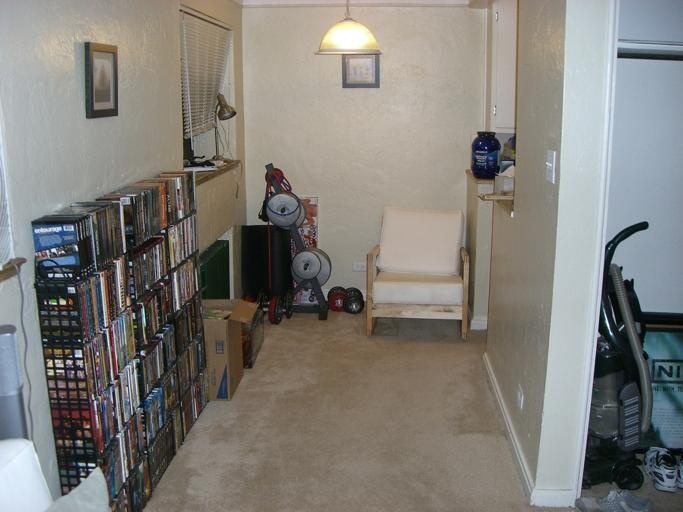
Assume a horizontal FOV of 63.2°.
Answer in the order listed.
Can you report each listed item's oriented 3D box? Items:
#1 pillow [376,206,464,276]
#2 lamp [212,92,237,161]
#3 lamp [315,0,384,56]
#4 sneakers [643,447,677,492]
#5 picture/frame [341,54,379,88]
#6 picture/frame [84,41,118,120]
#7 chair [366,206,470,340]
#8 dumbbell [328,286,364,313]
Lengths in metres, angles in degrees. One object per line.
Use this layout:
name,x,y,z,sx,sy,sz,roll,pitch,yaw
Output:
pillow,0.843,-0.056,5.837,0.660,0.711,0.217,4,-13,9
lamp,-1.147,-1.284,5.463,0.215,0.618,0.490,-3,10,-11
lamp,0.086,-1.800,4.367,0.428,0.534,0.493,0,27,1
sneakers,1.882,1.258,3.276,0.129,0.107,0.226,2,28,12
picture/frame,0.207,-1.922,5.718,0.439,0.461,0.111,0,9,2
picture/frame,-1.267,-0.936,2.977,0.333,0.375,0.020,16,16,42
chair,0.766,0.156,5.421,1.026,1.253,1.035,0,5,0
dumbbell,0.046,0.457,5.867,0.254,0.187,0.290,4,13,-4
